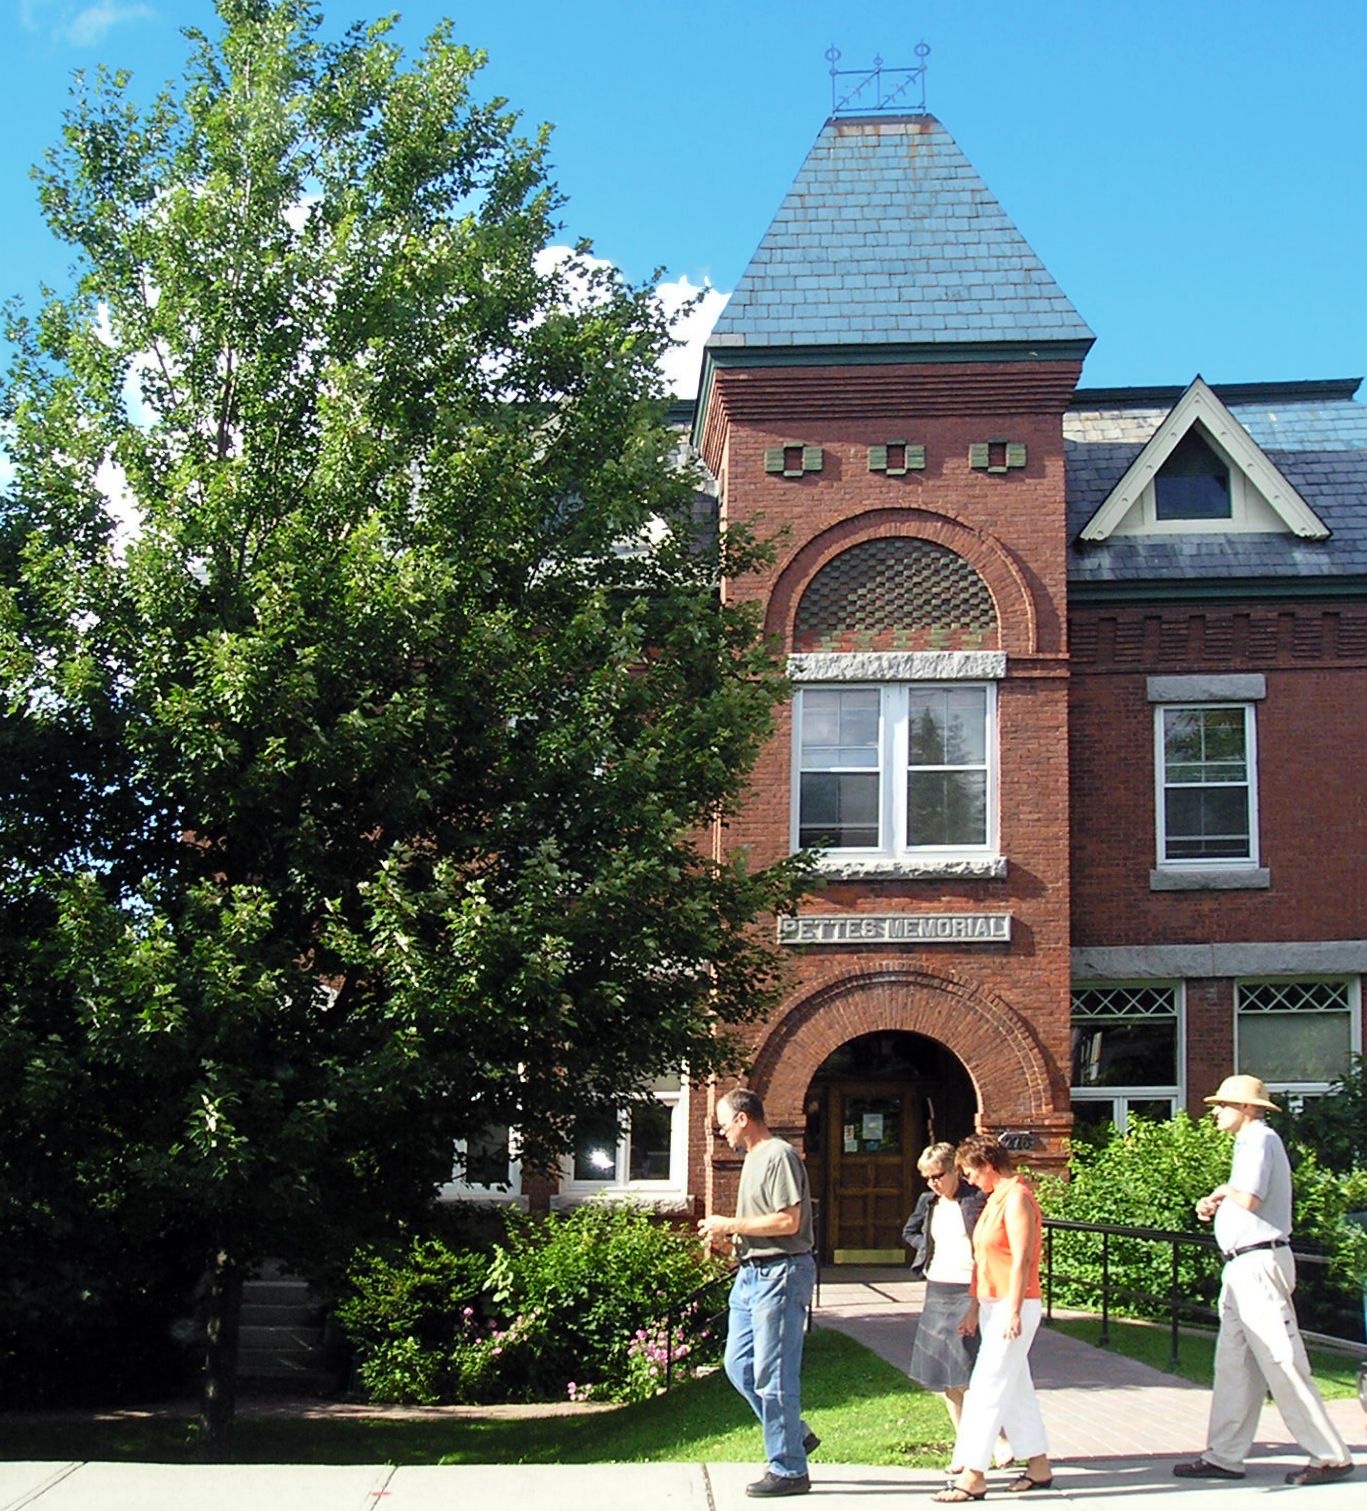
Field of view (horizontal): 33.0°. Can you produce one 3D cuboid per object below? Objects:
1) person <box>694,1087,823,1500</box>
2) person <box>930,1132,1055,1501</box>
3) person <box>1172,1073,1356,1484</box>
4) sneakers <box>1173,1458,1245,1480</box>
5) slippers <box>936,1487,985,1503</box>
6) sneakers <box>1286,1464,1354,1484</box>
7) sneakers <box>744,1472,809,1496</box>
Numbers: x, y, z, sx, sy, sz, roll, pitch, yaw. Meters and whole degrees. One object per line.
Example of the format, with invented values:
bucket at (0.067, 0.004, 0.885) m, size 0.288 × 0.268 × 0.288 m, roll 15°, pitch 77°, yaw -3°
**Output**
person at (0.408, 2.800, 12.052) m, size 0.543 × 2.071 × 0.400 m, roll 0°, pitch -12°, yaw 2°
person at (1.626, 2.944, 12.116) m, size 0.524 × 1.828 × 0.518 m, roll -2°, pitch -12°, yaw 15°
person at (3.123, 2.806, 12.504) m, size 0.859 × 2.129 × 0.696 m, roll -1°, pitch -12°, yaw 10°
sneakers at (2.811, 3.806, 12.345) m, size 0.395 × 0.124 × 0.120 m, roll 4°, pitch -16°, yaw 11°
slippers at (1.434, 3.767, 11.814) m, size 0.227 × 0.054 × 0.092 m, roll 3°, pitch -10°, yaw -1°
sneakers at (3.336, 3.737, 12.070) m, size 0.396 × 0.122 × 0.118 m, roll 0°, pitch -14°, yaw 2°
sneakers at (0.507, 3.776, 12.009) m, size 0.352 × 0.124 × 0.111 m, roll 4°, pitch -6°, yaw 0°
